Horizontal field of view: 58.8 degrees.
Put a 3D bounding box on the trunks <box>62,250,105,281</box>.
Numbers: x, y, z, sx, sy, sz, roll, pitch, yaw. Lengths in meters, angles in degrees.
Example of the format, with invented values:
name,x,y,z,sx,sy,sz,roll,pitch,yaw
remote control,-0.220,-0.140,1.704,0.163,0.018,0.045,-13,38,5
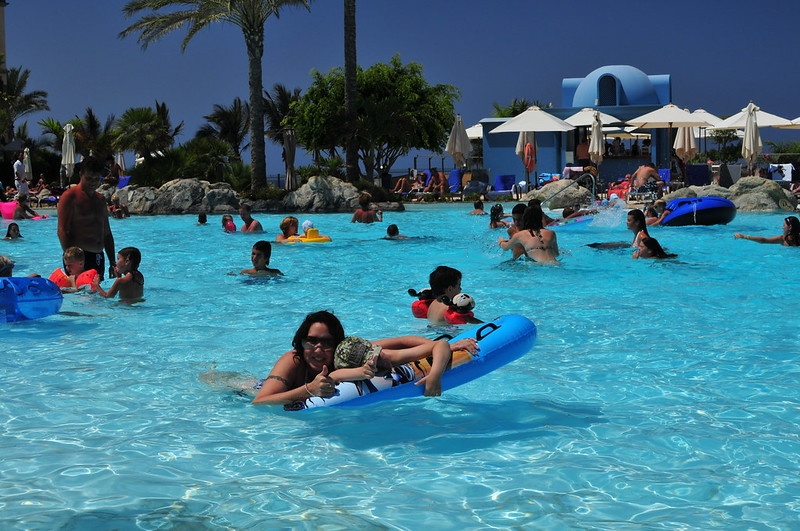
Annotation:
name,x,y,z,sx,sy,sz,roll,pitch,yaw
trunks,-4.119,-0.006,9.240,0.297,0.321,0.316,-3,48,-7

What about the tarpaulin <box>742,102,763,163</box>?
name,x,y,z,sx,sy,sz,roll,pitch,yaw
tarpaulin,12.260,-4.483,24.337,0.703,1.861,0.719,-1,9,5

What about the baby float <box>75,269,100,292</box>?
name,x,y,z,sx,sy,sz,roll,pitch,yaw
baby float,-3.970,0.180,8.987,0.310,0.099,0.212,-15,25,29

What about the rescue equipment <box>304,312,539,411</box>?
name,x,y,z,sx,sy,sz,roll,pitch,yaw
rescue equipment,0.370,0.821,5.903,1.407,0.179,0.836,-18,0,-20

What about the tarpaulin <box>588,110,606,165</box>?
name,x,y,z,sx,sy,sz,roll,pitch,yaw
tarpaulin,7.018,-4.493,25.122,0.685,1.577,0.561,6,21,28

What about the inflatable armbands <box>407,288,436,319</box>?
name,x,y,z,sx,sy,sz,roll,pitch,yaw
inflatable armbands,0.268,0.428,8.378,0.418,0.339,0.269,-1,7,-1

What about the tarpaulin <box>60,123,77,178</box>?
name,x,y,z,sx,sy,sz,roll,pitch,yaw
tarpaulin,-12.203,-4.218,25.945,0.577,1.561,0.573,11,15,20

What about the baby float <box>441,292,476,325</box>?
name,x,y,z,sx,sy,sz,roll,pitch,yaw
baby float,0.701,0.420,7.669,0.401,0.331,0.295,-8,20,-22

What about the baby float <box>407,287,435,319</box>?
name,x,y,z,sx,sy,sz,roll,pitch,yaw
baby float,0.265,0.425,8.375,0.418,0.339,0.268,-1,7,0

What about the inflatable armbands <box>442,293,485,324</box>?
name,x,y,z,sx,sy,sz,roll,pitch,yaw
inflatable armbands,0.728,0.394,7.640,0.427,0.365,0.286,4,38,12

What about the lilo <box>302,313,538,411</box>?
name,x,y,z,sx,sy,sz,roll,pitch,yaw
lilo,0.254,0.761,6.263,1.890,0.222,1.108,-18,15,-19
